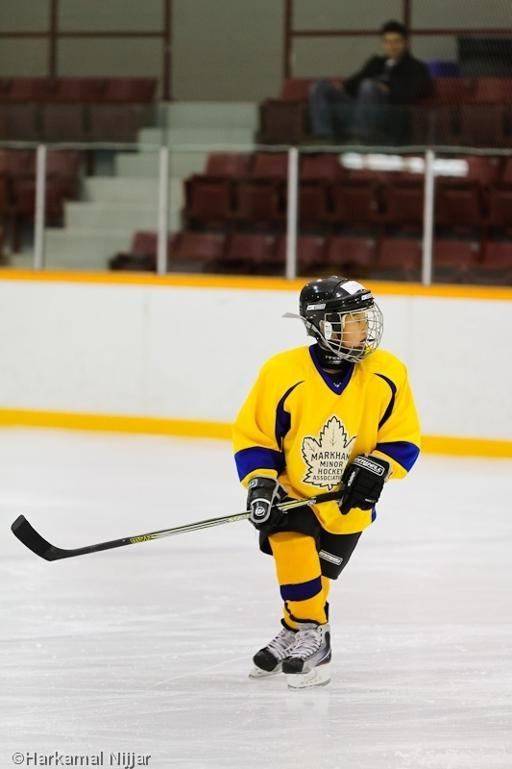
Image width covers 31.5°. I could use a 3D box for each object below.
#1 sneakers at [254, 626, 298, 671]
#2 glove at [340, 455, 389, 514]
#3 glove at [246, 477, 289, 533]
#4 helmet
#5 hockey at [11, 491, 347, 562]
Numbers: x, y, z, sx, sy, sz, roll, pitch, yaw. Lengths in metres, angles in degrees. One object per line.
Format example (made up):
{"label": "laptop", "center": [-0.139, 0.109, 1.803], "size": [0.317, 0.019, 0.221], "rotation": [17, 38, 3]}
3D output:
{"label": "sneakers", "center": [0.049, 0.539, 1.884], "size": [0.045, 0.059, 0.144], "rotation": [32, 7, 10]}
{"label": "glove", "center": [0.209, 0.194, 1.782], "size": [0.094, 0.113, 0.035], "rotation": [19, -4, 0]}
{"label": "glove", "center": [0.015, 0.236, 1.775], "size": [0.084, 0.096, 0.047], "rotation": [-6, -10, 8]}
{"label": "helmet", "center": [0.169, -0.140, 1.887], "size": [0.182, 0.151, 0.134], "rotation": [7, 20, 36]}
{"label": "hockey", "center": [-0.263, 0.336, 2.192], "size": [0.622, 0.097, 0.032], "rotation": [0, -19, -36]}
